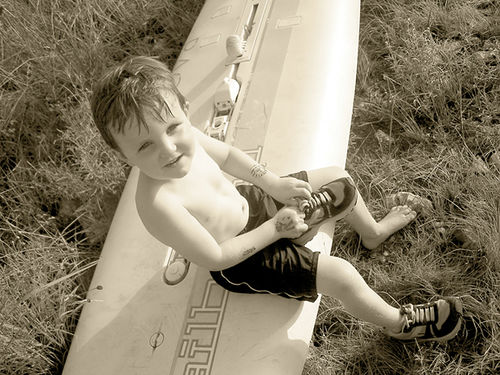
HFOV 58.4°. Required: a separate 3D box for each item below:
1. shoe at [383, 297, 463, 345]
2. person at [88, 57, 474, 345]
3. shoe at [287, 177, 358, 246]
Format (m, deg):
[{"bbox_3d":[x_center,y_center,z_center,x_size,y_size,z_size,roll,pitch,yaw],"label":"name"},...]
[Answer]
[{"bbox_3d":[0.826,0.637,2.221,0.386,0.197,0.191,-17,71,18],"label":"shoe"},{"bbox_3d":[0.137,-0.038,2.035,1.473,1.213,0.817,2,47,22],"label":"person"},{"bbox_3d":[0.335,0.104,2.141,0.399,0.175,0.145,-37,79,16],"label":"shoe"}]
